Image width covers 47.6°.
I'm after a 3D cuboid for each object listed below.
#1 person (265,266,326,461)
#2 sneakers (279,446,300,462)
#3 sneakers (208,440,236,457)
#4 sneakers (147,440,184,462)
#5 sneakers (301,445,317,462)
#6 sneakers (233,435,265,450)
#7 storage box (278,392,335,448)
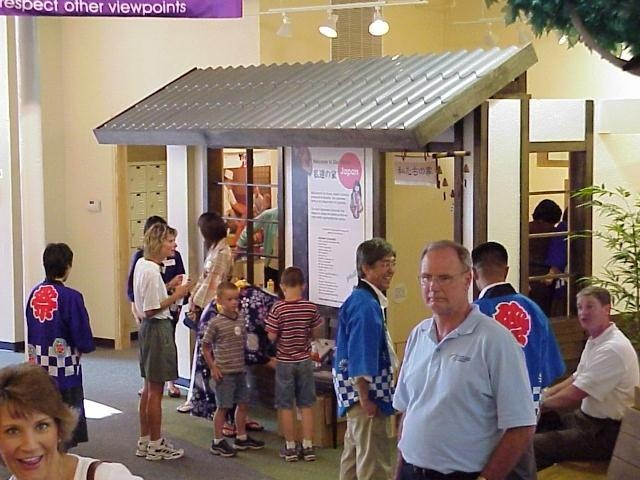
[{"bbox_3d":[-0.228,1.089,6.400,0.479,1.709,0.221,-1,5,-5],"label":"person"},{"bbox_3d":[-0.260,1.891,6.416,0.080,0.101,0.189,-1,5,-14],"label":"sneakers"},{"bbox_3d":[-0.890,1.864,6.598,0.238,0.141,0.111,1,3,34],"label":"sneakers"},{"bbox_3d":[-1.398,1.883,6.568,0.345,0.202,0.142,-1,3,-24],"label":"sneakers"},{"bbox_3d":[-0.104,1.889,6.428,0.068,0.080,0.160,-1,4,-9],"label":"sneakers"},{"bbox_3d":[-0.662,1.871,6.746,0.286,0.161,0.112,0,-2,-11],"label":"sneakers"},{"bbox_3d":[-0.111,1.660,6.682,0.464,0.434,0.486,1,-1,-37],"label":"storage box"}]
